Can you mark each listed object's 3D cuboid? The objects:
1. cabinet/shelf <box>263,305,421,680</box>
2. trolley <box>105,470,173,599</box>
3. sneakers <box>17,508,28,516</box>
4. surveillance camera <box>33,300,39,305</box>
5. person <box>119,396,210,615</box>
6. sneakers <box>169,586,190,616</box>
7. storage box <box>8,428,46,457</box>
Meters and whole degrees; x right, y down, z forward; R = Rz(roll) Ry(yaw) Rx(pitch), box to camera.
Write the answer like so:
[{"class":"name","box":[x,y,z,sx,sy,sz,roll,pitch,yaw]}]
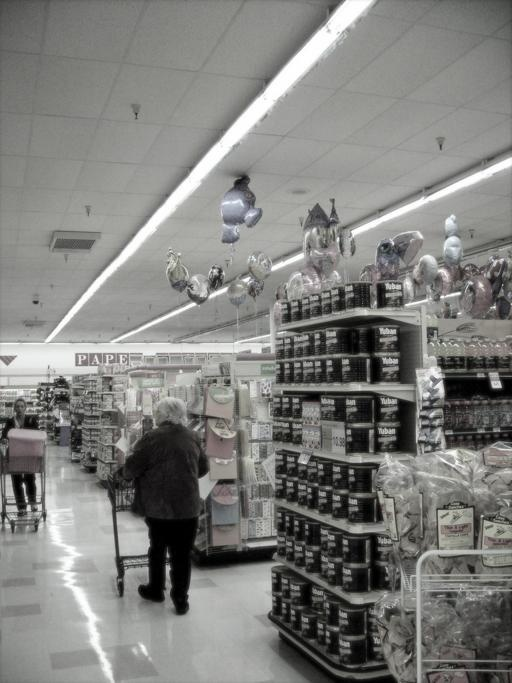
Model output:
[{"class":"cabinet/shelf","box":[0.519,0.828,3.292,0.489,2.088,1.076,3,-8,-23]},{"class":"trolley","box":[-1.034,1.700,4.824,0.479,0.847,0.546,-2,-3,-24]},{"class":"sneakers","box":[-3.187,2.319,7.452,0.091,0.051,0.123,1,-3,9]},{"class":"surveillance camera","box":[-6.668,-1.164,16.530,0.173,0.123,0.067,0,13,19]},{"class":"person","box":[-0.702,1.243,4.219,0.612,1.603,0.596,0,-8,-2]},{"class":"sneakers","box":[-0.575,1.943,4.151,0.109,0.203,0.086,-8,-8,-15]},{"class":"storage box","box":[-2.956,1.301,7.048,0.385,0.231,0.381,4,-5,-33]}]
